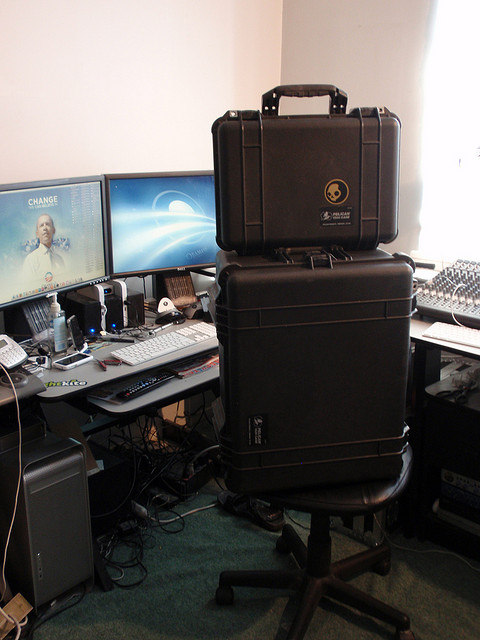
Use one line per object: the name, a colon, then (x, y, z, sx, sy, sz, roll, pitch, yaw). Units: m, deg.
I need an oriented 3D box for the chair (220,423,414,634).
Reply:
chair: (0.209, 0.565, 1.388, 0.437, 0.414, 0.452, 13, 33, 24)

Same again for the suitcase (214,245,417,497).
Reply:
suitcase: (0.132, 0.088, 0.981, 0.396, 0.507, 0.270, -3, 22, -7)

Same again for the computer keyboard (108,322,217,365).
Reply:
computer keyboard: (-0.246, 0.077, 1.883, 0.154, 0.028, 0.431, 12, 18, 40)

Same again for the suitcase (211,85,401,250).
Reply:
suitcase: (0.127, -0.280, 1.016, 0.329, 0.322, 0.128, -2, 5, 0)

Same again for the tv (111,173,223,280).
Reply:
tv: (-0.292, -0.363, 2.006, 0.457, 0.342, 0.031, -11, 17, -32)

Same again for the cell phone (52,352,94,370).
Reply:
cell phone: (-0.532, 0.128, 1.718, 0.066, 0.024, 0.120, 9, 17, 32)
